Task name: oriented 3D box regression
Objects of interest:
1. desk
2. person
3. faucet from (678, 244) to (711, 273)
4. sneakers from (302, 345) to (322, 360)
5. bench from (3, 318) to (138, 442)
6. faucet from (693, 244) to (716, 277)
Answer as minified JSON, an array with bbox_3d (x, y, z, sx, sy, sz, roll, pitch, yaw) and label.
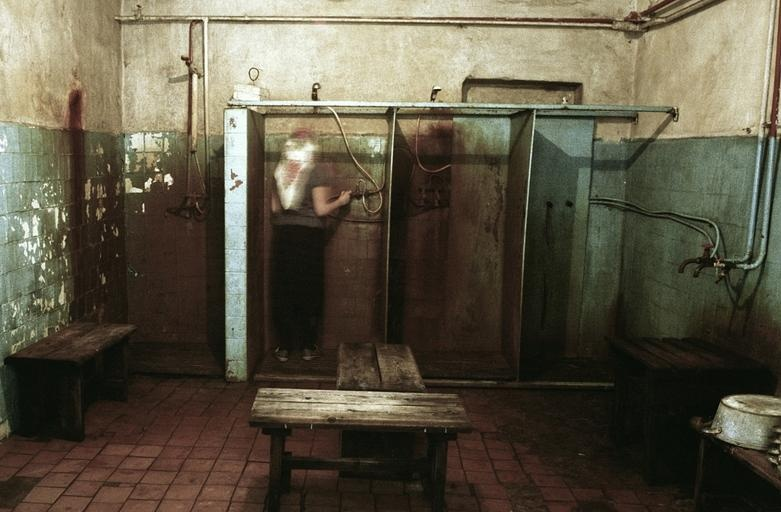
[{"bbox_3d":[2.382,1.295,5.676,1.175,1.031,0.770,3,11,17],"label":"desk"},{"bbox_3d":[-0.934,-0.094,7.205,0.595,2.406,0.220,-1,11,-5],"label":"person"},{"bbox_3d":[2.705,0.018,6.145,0.286,0.228,0.083,-1,0,8],"label":"faucet"},{"bbox_3d":[-0.835,1.027,7.448,0.115,0.103,0.211,4,7,43],"label":"sneakers"},{"bbox_3d":[-2.795,1.094,6.160,0.631,0.799,0.853,2,11,13],"label":"bench"},{"bbox_3d":[2.709,0.031,5.984,0.160,0.320,0.445,4,11,24],"label":"faucet"}]
